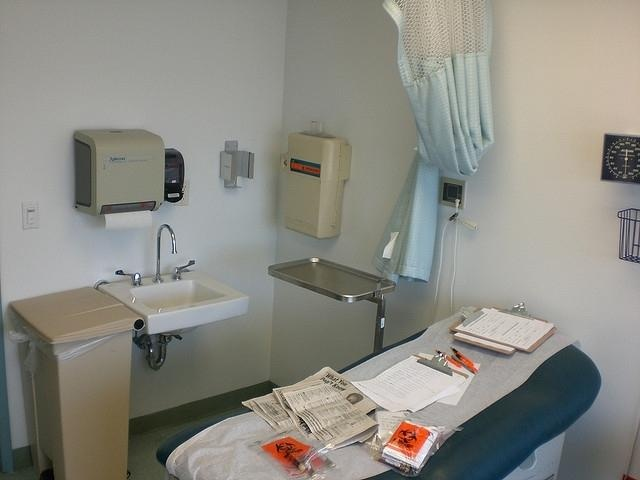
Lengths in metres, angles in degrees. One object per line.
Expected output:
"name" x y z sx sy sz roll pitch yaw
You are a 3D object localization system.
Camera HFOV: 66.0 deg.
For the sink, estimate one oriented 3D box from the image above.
"sink" -0.788 0.328 2.784 0.480 0.208 0.447 -10 22 -35
